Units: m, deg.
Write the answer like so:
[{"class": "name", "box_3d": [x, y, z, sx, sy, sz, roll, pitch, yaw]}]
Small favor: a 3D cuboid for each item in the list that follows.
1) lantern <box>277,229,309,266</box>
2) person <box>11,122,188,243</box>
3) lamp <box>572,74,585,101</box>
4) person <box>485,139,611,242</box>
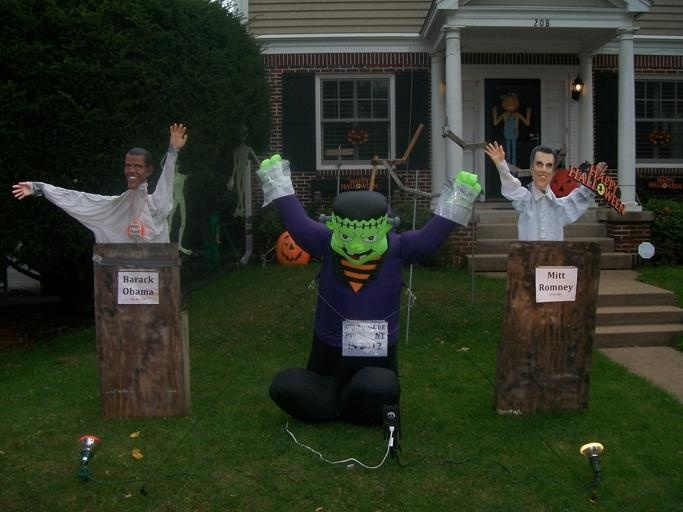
[{"class": "lantern", "box_3d": [-0.915, -0.160, 12.616, 0.660, 0.733, 0.653, 0, 2, -4]}, {"class": "person", "box_3d": [-2.640, -0.781, 7.545, 1.399, 2.178, 0.610, 2, 53, -13]}, {"class": "lamp", "box_3d": [4.356, -3.094, 13.318, 0.189, 0.431, 0.253, -2, 10, -6]}, {"class": "person", "box_3d": [1.843, -0.580, 6.680, 1.001, 0.905, 0.479, -1, 10, -2]}]
